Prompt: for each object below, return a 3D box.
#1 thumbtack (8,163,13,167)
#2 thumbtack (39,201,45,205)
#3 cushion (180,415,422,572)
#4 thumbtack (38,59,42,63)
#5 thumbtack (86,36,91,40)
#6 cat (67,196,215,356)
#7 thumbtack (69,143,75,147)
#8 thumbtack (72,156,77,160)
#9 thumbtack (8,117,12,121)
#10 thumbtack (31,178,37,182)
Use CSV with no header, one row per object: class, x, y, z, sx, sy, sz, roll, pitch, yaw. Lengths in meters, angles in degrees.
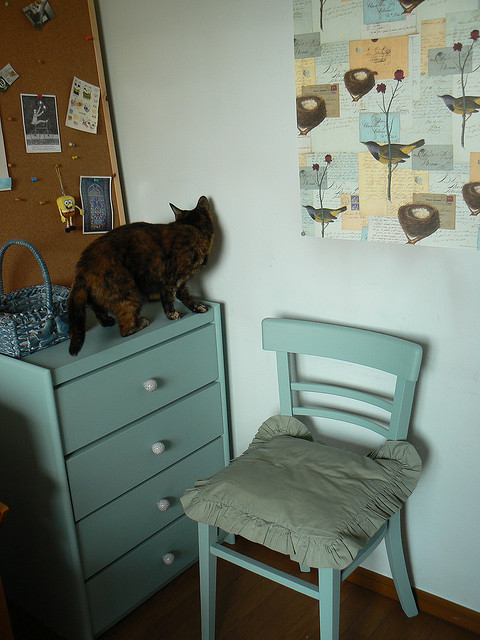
thumbtack,-0.662,-0.448,1.421,0.002,0.010,0.015,4,18,24
thumbtack,-0.608,-0.363,1.515,0.005,0.008,0.015,3,18,24
cushion,0.145,0.375,1.163,0.444,0.114,0.404,10,21,39
thumbtack,-0.583,-0.756,1.436,0.009,0.008,0.002,8,2,3
thumbtack,-0.475,-0.884,1.542,0.019,0.010,0.004,2,-7,-2
cat,-0.273,-0.143,1.409,0.144,0.302,0.569,12,32,41
thumbtack,-0.533,-0.556,1.561,0.004,0.011,0.015,7,19,31
thumbtack,-0.529,-0.521,1.578,0.003,0.009,0.016,8,20,34
thumbtack,-0.653,-0.572,1.399,0.003,0.009,0.012,5,18,27
thumbtack,-0.621,-0.425,1.483,0.018,0.011,0.009,-19,17,-36
